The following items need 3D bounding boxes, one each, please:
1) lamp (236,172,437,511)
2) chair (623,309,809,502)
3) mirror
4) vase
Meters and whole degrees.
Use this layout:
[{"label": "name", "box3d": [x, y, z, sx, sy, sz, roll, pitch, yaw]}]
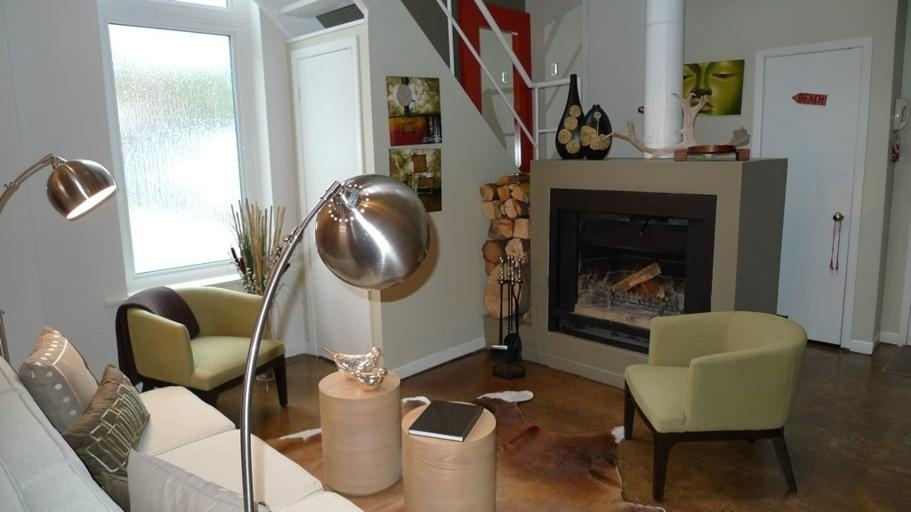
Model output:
[{"label": "lamp", "box3d": [-0.686, 0.467, 3.742, 1.131, 1.861, 0.418, -6, 13, -21]}, {"label": "chair", "box3d": [2.235, 1.132, 5.454, 1.418, 1.187, 1.131, -5, 11, -2]}, {"label": "mirror", "box3d": [0.556, -1.924, 7.622, 0.496, 1.643, 0.686, -1, 12, 2]}, {"label": "vase", "box3d": [1.299, -1.392, 6.325, 0.293, 0.832, 0.504, -13, 17, -41]}]
